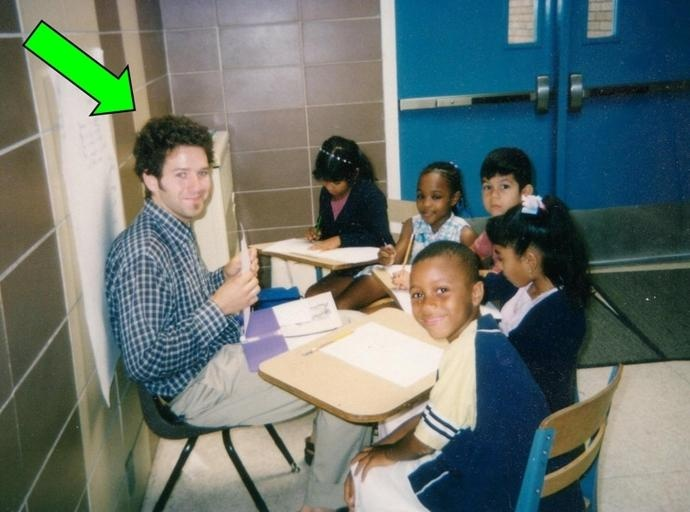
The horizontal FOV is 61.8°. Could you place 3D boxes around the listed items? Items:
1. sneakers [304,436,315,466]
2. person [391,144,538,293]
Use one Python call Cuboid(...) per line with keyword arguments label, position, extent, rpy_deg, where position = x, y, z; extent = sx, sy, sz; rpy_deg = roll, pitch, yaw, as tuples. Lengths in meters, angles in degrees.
Cuboid(label="sneakers", position=(-0.143, 0.845, 2.516), extent=(0.064, 0.075, 0.196), rpy_deg=(0, 5, -3))
Cuboid(label="person", position=(0.746, -0.326, 3.114), extent=(0.724, 0.858, 0.538), rpy_deg=(-12, 18, -20))
